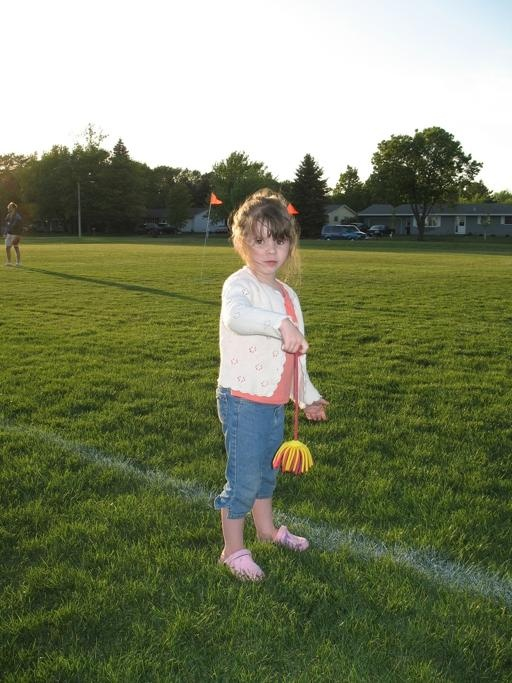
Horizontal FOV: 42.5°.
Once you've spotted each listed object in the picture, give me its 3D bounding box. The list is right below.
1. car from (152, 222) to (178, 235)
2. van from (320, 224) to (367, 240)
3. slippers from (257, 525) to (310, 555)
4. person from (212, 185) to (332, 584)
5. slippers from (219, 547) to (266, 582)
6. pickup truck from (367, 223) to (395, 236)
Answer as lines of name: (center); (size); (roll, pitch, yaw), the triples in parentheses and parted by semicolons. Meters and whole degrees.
car: (-9.003, -10.843, 63.789); (1.859, 0.975, 4.650); (1, 9, -1)
van: (6.582, -8.146, 49.310); (2.598, 1.280, 1.596); (2, 11, 19)
slippers: (0.131, 0.788, 2.612); (0.143, 0.062, 0.086); (6, 7, 29)
person: (0.043, 0.138, 2.420); (0.428, 1.415, 0.755); (2, 8, 6)
slippers: (-0.052, 0.796, 2.363); (0.159, 0.074, 0.079); (9, 11, 41)
pickup truck: (11.068, -9.703, 57.561); (1.199, 0.953, 3.022); (4, 11, 20)
